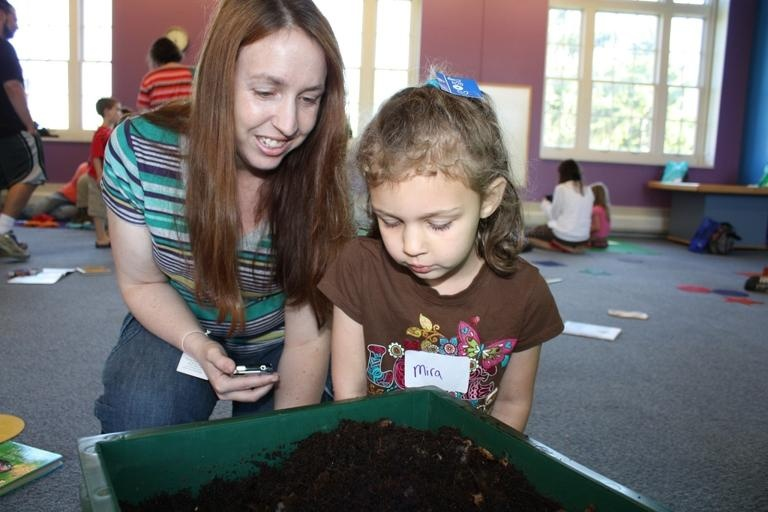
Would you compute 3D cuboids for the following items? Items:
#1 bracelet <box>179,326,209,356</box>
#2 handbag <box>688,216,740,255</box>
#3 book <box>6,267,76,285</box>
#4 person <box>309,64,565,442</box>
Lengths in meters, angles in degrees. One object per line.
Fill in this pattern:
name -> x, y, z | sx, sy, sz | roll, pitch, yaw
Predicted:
bracelet -> -0.557, 0.254, 1.575 | 0.082, 0.081, 0.020 | -31, -33, 15
handbag -> 3.825, -0.235, 6.362 | 0.511, 0.510, 0.380 | 3, -3, -6
book -> -2.524, 0.137, 3.986 | 0.342, 0.044, 0.514 | 0, 13, -9
person -> 0.155, -0.013, 1.496 | 0.684, 0.965, 0.363 | 6, 14, 19
